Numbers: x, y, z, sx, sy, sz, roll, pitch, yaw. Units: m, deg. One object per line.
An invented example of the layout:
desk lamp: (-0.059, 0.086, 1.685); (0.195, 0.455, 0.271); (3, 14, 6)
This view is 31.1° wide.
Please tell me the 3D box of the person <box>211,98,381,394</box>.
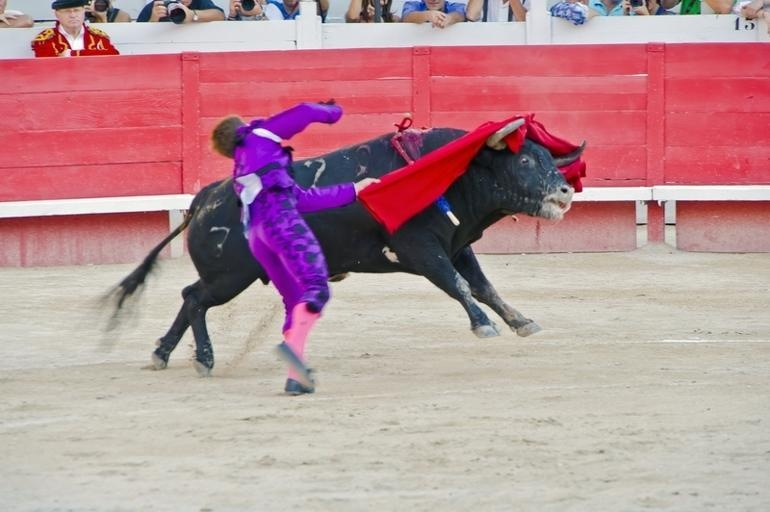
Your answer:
person: (-0.390, -0.047, 6.441); (0.548, 1.320, 0.476); (-9, 12, -29)

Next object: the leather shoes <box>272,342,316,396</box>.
leather shoes: (-0.407, 0.499, 6.357); (0.147, 0.263, 0.252); (-2, 9, 1)

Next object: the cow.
cow: (-0.223, -0.056, 7.149); (3.083, 1.012, 0.636); (-9, -3, 32)
